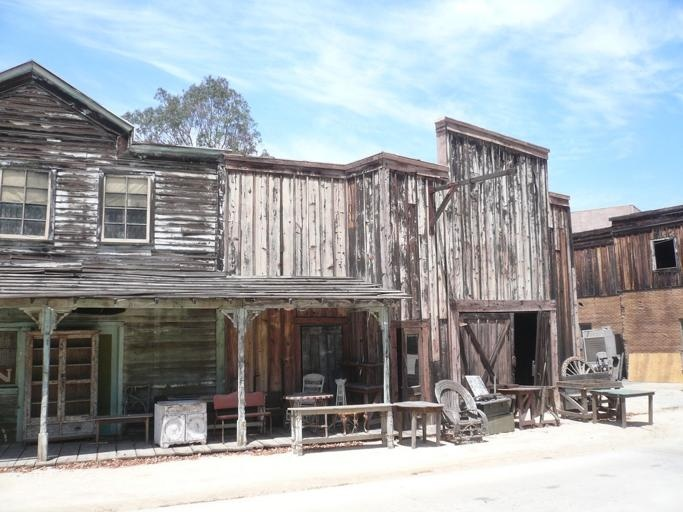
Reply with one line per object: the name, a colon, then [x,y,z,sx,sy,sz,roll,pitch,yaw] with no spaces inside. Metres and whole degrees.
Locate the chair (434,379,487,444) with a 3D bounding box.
chair: [2.780,3.680,13.698,1.251,1.282,0.968,6,6,25]

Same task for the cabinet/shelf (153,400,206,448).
cabinet/shelf: [-3.665,3.669,13.204,1.417,1.346,0.836,3,-15,-23]

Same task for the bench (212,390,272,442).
bench: [-2.405,3.752,13.767,1.316,1.071,0.514,4,-7,-35]
